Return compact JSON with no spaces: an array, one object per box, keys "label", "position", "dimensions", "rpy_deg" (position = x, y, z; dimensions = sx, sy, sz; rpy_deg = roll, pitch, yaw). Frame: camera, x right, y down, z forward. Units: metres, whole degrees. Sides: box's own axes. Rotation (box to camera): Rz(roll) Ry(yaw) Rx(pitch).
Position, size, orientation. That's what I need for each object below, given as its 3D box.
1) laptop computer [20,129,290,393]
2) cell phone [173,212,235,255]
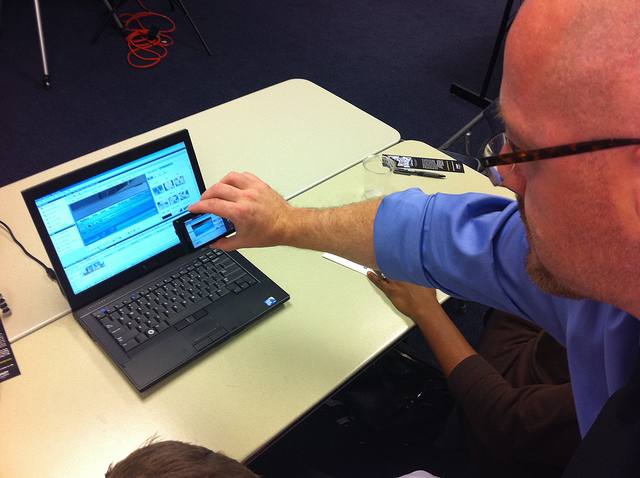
[{"label":"laptop computer","position":[-0.377,0.030,1.227],"dimensions":[0.443,0.327,0.495],"rpy_deg":[39,47,24]},{"label":"cell phone","position":[-0.306,-0.037,1.345],"dimensions":[0.162,0.094,0.021],"rpy_deg":[-21,-1,33]}]
